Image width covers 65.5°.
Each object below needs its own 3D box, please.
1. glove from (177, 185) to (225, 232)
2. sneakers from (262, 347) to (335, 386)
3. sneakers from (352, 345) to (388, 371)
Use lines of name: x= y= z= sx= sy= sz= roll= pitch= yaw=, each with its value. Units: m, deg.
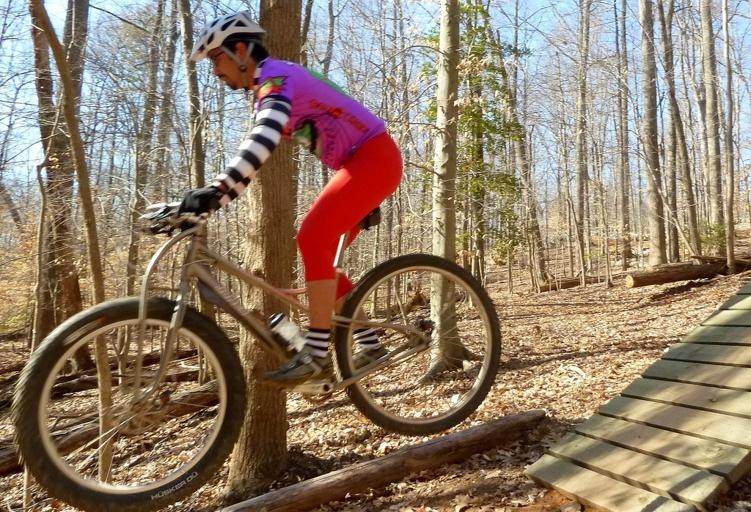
glove: x=-1.451 y=-0.400 z=4.700 sx=0.598 sy=0.156 sz=0.214 roll=-19 pitch=22 yaw=-1
sneakers: x=-0.653 y=0.969 z=5.101 sx=0.757 sy=0.226 sz=0.230 roll=-2 pitch=-3 yaw=-22
sneakers: x=-0.070 y=0.935 z=5.406 sx=0.423 sy=0.131 sz=0.123 roll=-11 pitch=-28 yaw=-27
